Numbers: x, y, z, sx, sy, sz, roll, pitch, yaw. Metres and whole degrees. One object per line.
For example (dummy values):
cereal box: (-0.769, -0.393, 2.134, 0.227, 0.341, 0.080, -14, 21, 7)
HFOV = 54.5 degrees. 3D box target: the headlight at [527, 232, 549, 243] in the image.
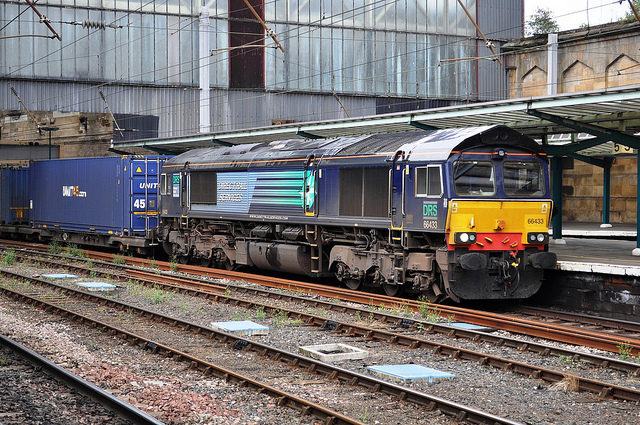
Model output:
headlight: (6.363, 0.699, 18.172, 0.408, 0.196, 0.419, 0, 0, -9)

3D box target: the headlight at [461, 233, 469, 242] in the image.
headlight: (4.032, 0.674, 17.339, 0.201, 0.203, 0.045, -1, -7, -24)
